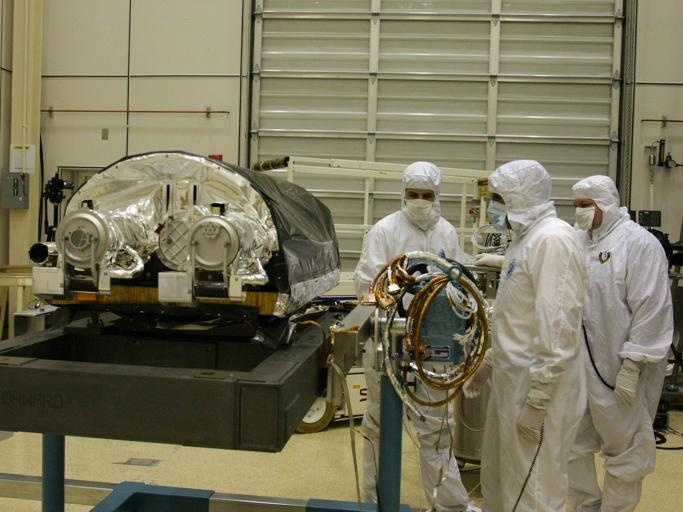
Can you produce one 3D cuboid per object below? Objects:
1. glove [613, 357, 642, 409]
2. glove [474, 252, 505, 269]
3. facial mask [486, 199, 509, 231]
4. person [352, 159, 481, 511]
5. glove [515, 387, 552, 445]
[{"bbox_3d":[1.787,0.785,5.518,0.151,0.294,0.100,11,17,33],"label":"glove"},{"bbox_3d":[0.938,0.009,5.625,0.129,0.049,0.102,9,-41,3],"label":"glove"},{"bbox_3d":[0.961,-0.258,5.438,0.152,0.143,0.168,4,4,19],"label":"facial mask"},{"bbox_3d":[0.481,0.513,5.665,0.807,1.788,0.855,1,1,0],"label":"person"},{"bbox_3d":[1.097,0.885,5.061,0.185,0.327,0.106,15,16,29],"label":"glove"}]
